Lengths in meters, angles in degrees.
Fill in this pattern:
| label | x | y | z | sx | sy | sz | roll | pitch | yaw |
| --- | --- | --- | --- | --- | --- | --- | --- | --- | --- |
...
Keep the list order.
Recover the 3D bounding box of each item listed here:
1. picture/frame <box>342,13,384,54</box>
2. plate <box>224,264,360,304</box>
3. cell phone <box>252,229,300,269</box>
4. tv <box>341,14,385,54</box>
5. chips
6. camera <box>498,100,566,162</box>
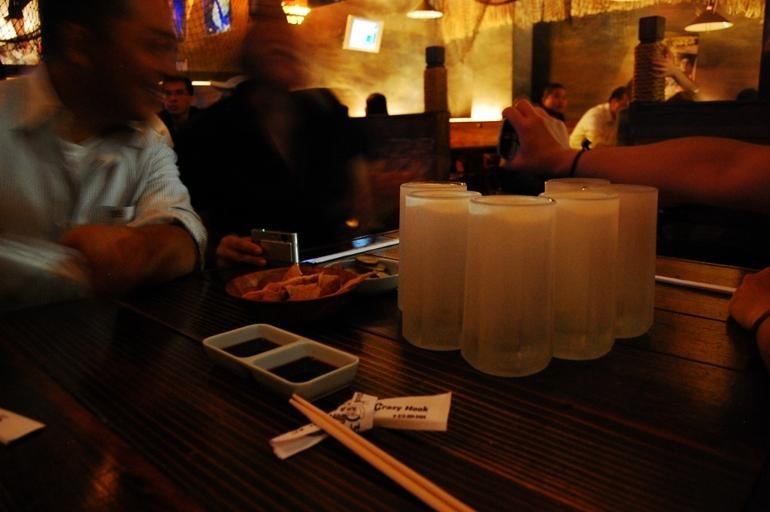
| label | x | y | z | sx | sy | sz | roll | pitch | yaw |
| --- | --- | --- | --- | --- | --- | --- | --- | --- | --- |
| picture/frame | -0.215 | -2.270 | 5.732 | 0.055 | 0.284 | 0.547 | 24 | 28 | 28 |
| plate | -0.211 | 0.044 | 1.333 | 0.219 | 0.084 | 0.266 | 5 | 7 | 41 |
| cell phone | -0.315 | -0.017 | 1.617 | 0.173 | 0.103 | 0.030 | 5 | 14 | 34 |
| tv | -0.182 | -2.269 | 5.731 | 0.059 | 0.282 | 0.529 | -12 | 28 | -43 |
| chips | -0.191 | 0.040 | 1.314 | 0.218 | 0.081 | 0.267 | 4 | 6 | 40 |
| camera | 0.551 | -0.464 | 2.147 | 0.262 | 0.313 | 0.202 | -11 | 16 | -42 |
